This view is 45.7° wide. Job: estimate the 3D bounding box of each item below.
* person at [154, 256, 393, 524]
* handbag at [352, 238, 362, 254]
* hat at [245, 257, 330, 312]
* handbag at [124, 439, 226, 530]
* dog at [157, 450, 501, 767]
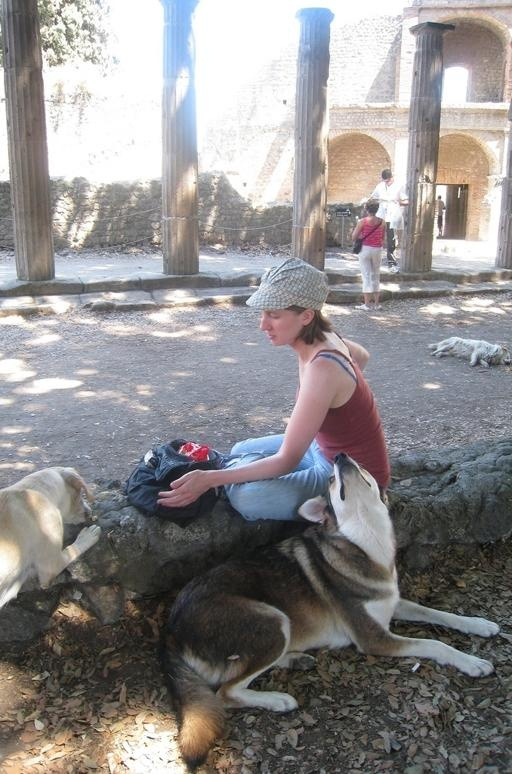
[{"bbox_3d":[0.151,0.033,2.479,0.717,0.931,1.031,4,15,44],"label":"person"},{"bbox_3d":[1.499,-2.086,8.951,0.070,0.189,0.136,11,-3,-20],"label":"handbag"},{"bbox_3d":[0.121,-0.385,2.271,0.272,0.164,0.179,-3,16,-8],"label":"hat"},{"bbox_3d":[-0.344,0.363,2.571,0.316,0.156,0.365,5,21,17],"label":"handbag"},{"bbox_3d":[0.259,0.799,2.256,1.218,0.755,0.661,-22,6,-6],"label":"dog"}]
